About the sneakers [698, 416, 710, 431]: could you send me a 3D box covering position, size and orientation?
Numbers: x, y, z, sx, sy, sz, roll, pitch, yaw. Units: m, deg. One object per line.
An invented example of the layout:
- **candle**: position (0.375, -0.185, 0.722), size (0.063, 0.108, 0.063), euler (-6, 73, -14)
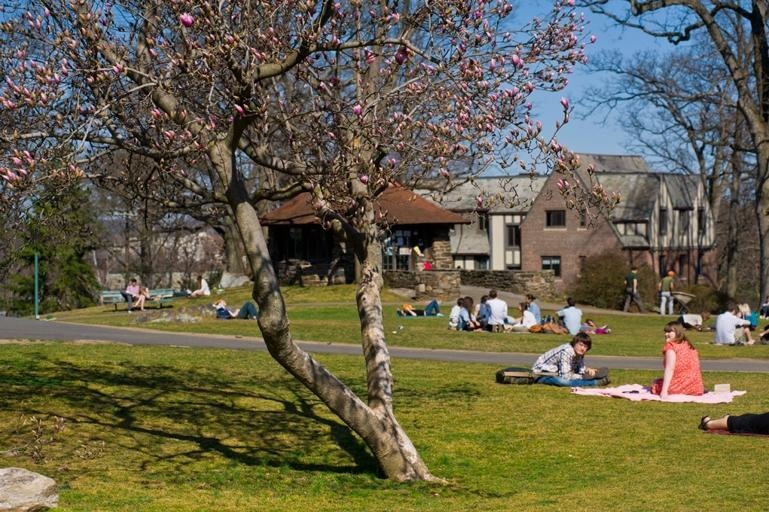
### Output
- **sneakers**: position (6.671, 3.497, 21.433), size (0.098, 0.365, 0.136), euler (5, 16, -35)

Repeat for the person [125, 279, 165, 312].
- **person**: position (-10.916, 1.757, 45.606), size (1.173, 1.418, 2.386), euler (-1, -8, -31)

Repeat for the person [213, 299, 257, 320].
- **person**: position (-5.726, 2.127, 39.729), size (1.706, 0.835, 0.852), euler (-4, -2, 10)
